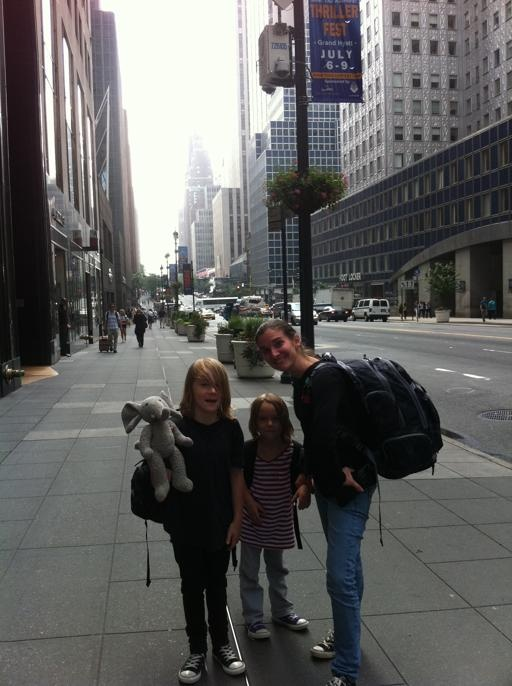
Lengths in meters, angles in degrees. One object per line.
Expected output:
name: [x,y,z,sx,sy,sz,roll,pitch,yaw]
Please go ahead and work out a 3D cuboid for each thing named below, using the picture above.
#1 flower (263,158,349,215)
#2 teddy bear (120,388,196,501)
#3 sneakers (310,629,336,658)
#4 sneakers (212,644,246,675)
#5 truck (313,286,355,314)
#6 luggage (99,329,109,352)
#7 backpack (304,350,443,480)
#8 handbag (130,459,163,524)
flower: [0.984,-3.053,9.940,1.382,1.027,1.686,-10,31,2]
teddy bear: [-0.419,0.442,2.157,0.276,0.449,0.307,-6,8,-18]
sneakers: [0.323,1.305,2.232,0.078,0.119,0.241,-2,-21,25]
sneakers: [-0.108,1.300,2.069,0.052,0.072,0.161,-4,-15,-19]
truck: [10.173,-5.504,65.435,2.676,3.607,5.962,-1,7,-15]
luggage: [-7.449,0.123,24.718,0.441,0.786,1.134,-5,8,-16]
backpack: [0.506,0.250,2.024,0.436,0.528,0.339,-10,15,27]
handbag: [-0.475,0.634,2.152,0.064,0.207,0.139,-38,-35,22]
